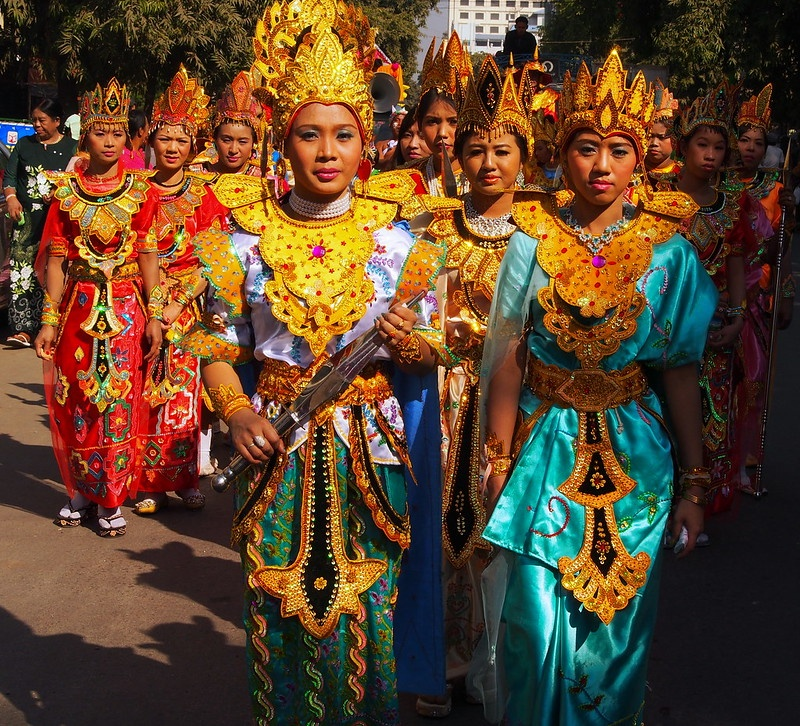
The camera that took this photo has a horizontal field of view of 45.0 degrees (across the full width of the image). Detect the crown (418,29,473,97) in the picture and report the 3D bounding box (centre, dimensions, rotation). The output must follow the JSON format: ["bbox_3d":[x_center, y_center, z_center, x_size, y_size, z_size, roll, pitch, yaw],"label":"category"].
[{"bbox_3d":[0.228,-1.451,4.754,0.196,0.308,0.257,7,13,-14],"label":"crown"}]

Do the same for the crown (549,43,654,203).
[{"bbox_3d":[0.603,-0.774,3.044,0.271,0.361,0.353,4,-18,8],"label":"crown"}]

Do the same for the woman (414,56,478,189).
[{"bbox_3d":[0.228,-1.123,4.759,0.273,0.869,0.269,13,22,43],"label":"woman"}]

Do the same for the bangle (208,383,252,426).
[{"bbox_3d":[-0.519,0.120,2.862,0.098,0.126,0.103,-32,3,-22],"label":"bangle"}]

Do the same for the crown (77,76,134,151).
[{"bbox_3d":[-1.703,-1.435,5.517,0.277,0.409,0.300,-3,11,-18],"label":"crown"}]

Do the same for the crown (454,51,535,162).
[{"bbox_3d":[0.360,-0.954,3.653,0.256,0.296,0.351,1,-24,8],"label":"crown"}]

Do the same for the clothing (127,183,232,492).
[{"bbox_3d":[-1.416,0.085,5.943,0.436,1.248,0.396,8,30,-11],"label":"clothing"}]

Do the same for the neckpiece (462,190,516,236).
[{"bbox_3d":[0.354,-0.584,3.792,0.226,0.254,0.096,1,12,8],"label":"neckpiece"}]

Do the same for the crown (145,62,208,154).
[{"bbox_3d":[-1.407,-1.603,6.035,0.408,0.552,0.251,9,22,-1],"label":"crown"}]

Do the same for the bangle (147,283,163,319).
[{"bbox_3d":[-1.397,-0.342,5.480,0.091,0.194,0.148,-2,11,-15],"label":"bangle"}]

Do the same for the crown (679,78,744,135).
[{"bbox_3d":[1.609,-1.303,4.913,0.286,0.279,0.369,6,13,13],"label":"crown"}]

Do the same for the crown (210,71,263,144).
[{"bbox_3d":[-1.033,-1.671,6.249,0.323,0.376,0.249,3,-11,-12],"label":"crown"}]

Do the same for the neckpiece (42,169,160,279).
[{"bbox_3d":[-1.707,-0.798,5.471,0.633,0.593,0.367,-4,11,-19],"label":"neckpiece"}]

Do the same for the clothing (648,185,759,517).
[{"bbox_3d":[1.691,-0.194,5.445,0.639,2.067,0.591,4,20,20],"label":"clothing"}]

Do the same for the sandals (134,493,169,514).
[{"bbox_3d":[-1.564,0.894,6.046,0.089,0.089,0.241,-5,-2,9],"label":"sandals"}]
